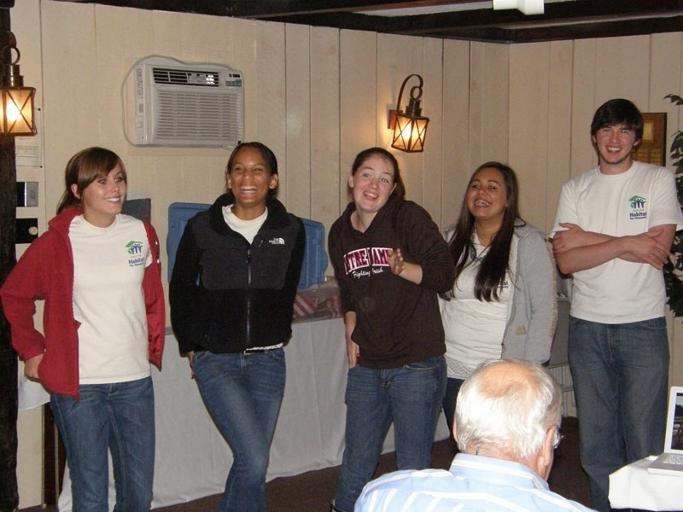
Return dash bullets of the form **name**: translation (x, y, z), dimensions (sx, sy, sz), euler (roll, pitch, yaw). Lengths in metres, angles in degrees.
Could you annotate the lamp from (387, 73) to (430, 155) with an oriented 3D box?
- **lamp**: translation (0.634, -1.264, 5.488), dimensions (0.433, 0.694, 0.236), euler (-7, 11, -30)
